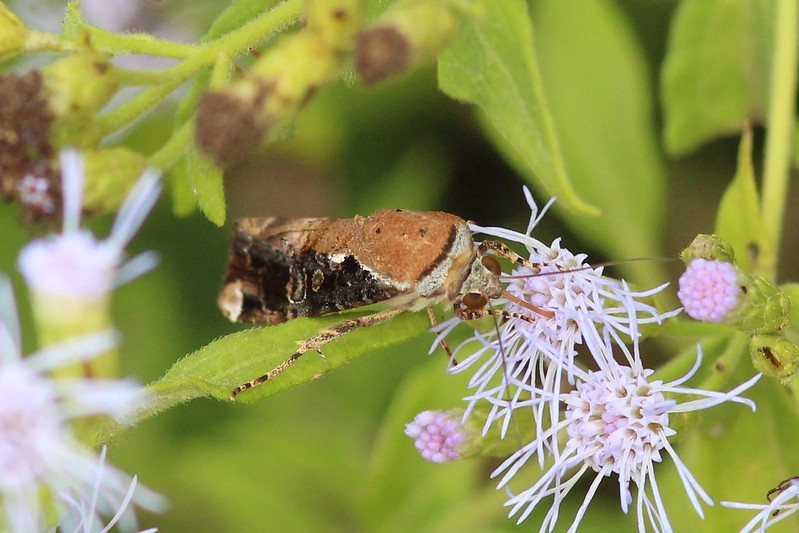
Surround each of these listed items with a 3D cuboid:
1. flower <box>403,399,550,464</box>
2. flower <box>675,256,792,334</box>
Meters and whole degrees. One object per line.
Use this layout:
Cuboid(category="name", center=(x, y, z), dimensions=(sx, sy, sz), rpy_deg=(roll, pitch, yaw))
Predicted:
Cuboid(category="flower", center=(0.245, 0.532, 2.878), dimensions=(0.459, 0.214, 0.159), rpy_deg=(-7, 48, 9))
Cuboid(category="flower", center=(1.007, 0.106, 2.666), dimensions=(0.294, 0.123, 0.197), rpy_deg=(23, 81, 3))
